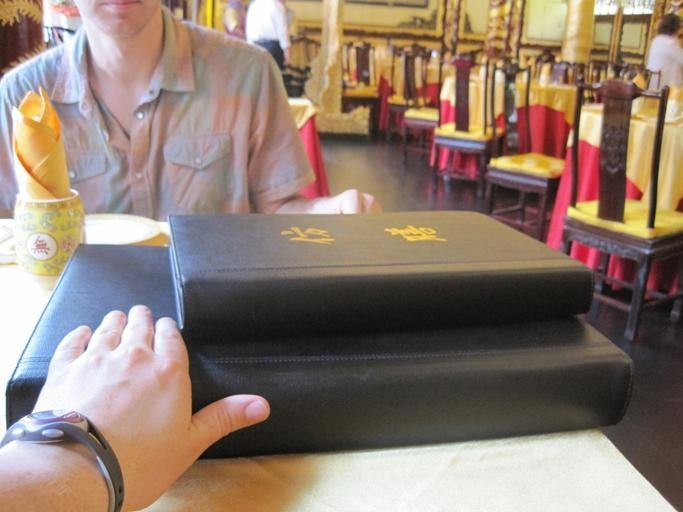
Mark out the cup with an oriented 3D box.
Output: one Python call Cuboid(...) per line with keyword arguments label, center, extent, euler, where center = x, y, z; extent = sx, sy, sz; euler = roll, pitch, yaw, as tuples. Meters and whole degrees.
Cuboid(label="cup", center=(-0.445, -0.042, 0.913), extent=(0.119, 0.135, 0.119), euler=(9, 23, -4))
